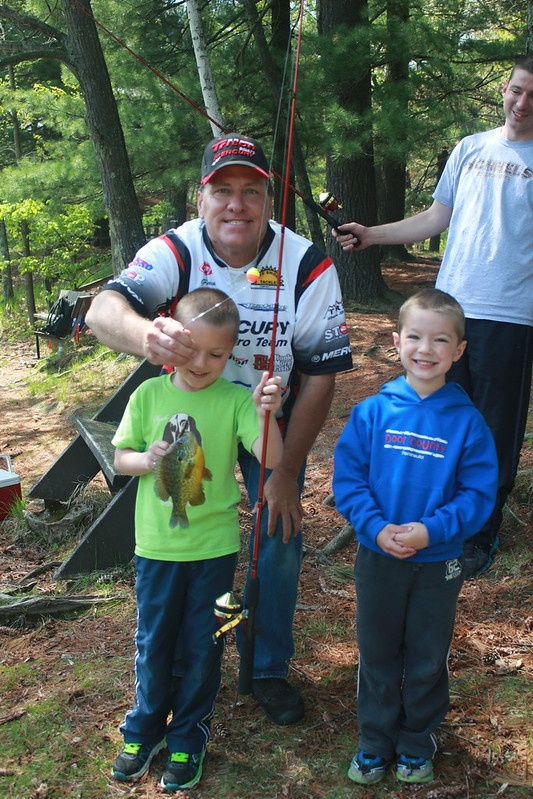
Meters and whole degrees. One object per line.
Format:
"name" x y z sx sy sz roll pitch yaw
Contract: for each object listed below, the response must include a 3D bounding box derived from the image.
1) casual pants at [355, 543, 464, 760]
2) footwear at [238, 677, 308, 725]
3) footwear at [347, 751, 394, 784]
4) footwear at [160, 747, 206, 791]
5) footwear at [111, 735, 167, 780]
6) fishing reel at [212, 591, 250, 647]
"casual pants" 0.401 0.728 2.153 0.312 0.604 0.225 -2 14 11
"footwear" 0.022 0.965 2.524 0.124 0.107 0.286 -3 1 -29
"footwear" 0.278 1.040 2.137 0.099 0.080 0.054 2 15 26
"footwear" -0.233 1.052 2.159 0.062 0.068 0.161 0 -5 11
"footwear" -0.370 1.049 2.247 0.066 0.072 0.169 4 6 30
"fishing reel" -0.106 0.574 2.020 0.094 0.079 0.170 5 14 11
